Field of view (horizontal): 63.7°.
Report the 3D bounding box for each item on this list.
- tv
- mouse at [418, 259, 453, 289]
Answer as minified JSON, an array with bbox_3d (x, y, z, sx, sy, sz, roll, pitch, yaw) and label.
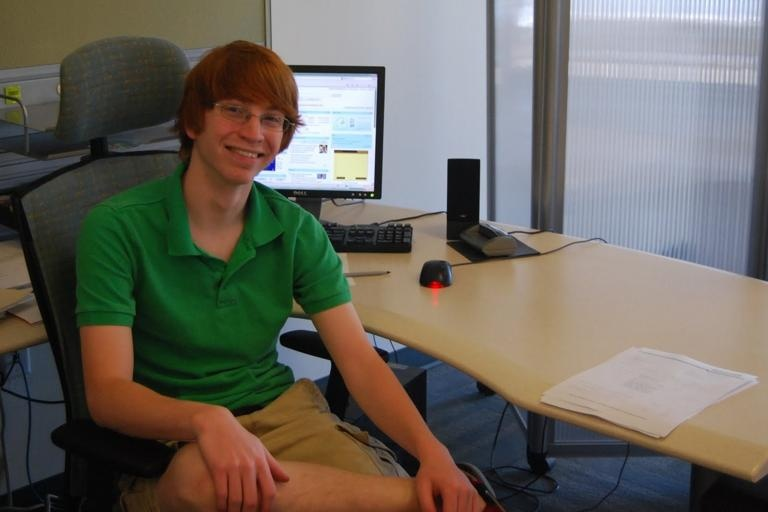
[{"bbox_3d":[-0.223,-0.400,2.131,0.648,0.664,0.218,2,7,-1],"label":"tv"},{"bbox_3d":[0.158,0.049,1.895,0.087,0.059,0.087,2,15,9],"label":"mouse"}]
